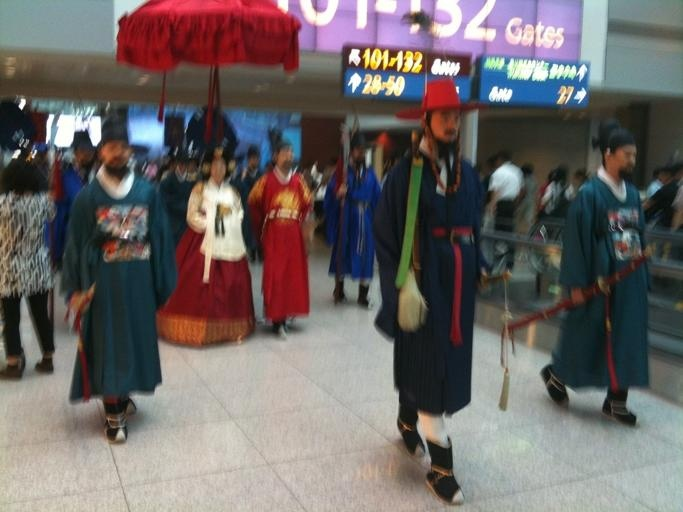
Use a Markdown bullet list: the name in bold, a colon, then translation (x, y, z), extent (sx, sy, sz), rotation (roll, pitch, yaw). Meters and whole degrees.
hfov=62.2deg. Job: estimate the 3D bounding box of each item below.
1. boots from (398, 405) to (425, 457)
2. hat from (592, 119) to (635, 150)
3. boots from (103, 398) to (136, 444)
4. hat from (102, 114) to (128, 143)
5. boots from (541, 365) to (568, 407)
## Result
- **boots**: translation (0.374, 0.956, 3.080), extent (0.089, 0.350, 0.129), rotation (-6, -22, -16)
- **hat**: translation (1.663, -0.727, 3.423), extent (0.211, 0.189, 0.202), rotation (6, 11, 29)
- **boots**: translation (-1.269, 0.926, 3.233), extent (0.140, 0.226, 0.156), rotation (-7, 11, -40)
- **hat**: translation (-1.246, -0.712, 3.138), extent (0.127, 0.171, 0.133), rotation (-9, 19, -34)
- **boots**: translation (1.395, 0.830, 3.704), extent (0.065, 0.242, 0.153), rotation (-21, -17, -27)
